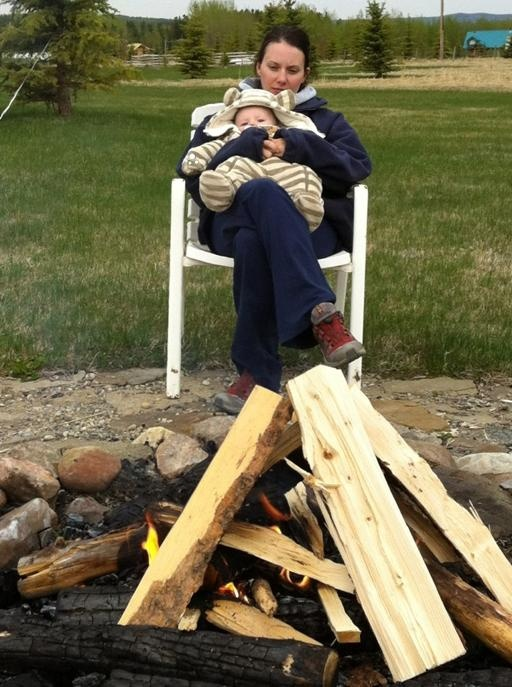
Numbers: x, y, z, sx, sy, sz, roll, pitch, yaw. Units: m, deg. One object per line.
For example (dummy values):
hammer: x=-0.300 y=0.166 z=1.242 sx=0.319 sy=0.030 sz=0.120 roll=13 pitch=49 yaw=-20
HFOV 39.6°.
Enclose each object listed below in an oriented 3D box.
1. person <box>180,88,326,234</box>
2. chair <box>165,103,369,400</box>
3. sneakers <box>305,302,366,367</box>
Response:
person: x=-0.032 y=-0.819 z=3.031 sx=0.516 sy=0.252 sz=0.708 roll=3 pitch=55 yaw=5
chair: x=0.065 y=-0.426 z=2.944 sx=0.794 sy=1.321 sz=1.189 roll=1 pitch=11 yaw=8
sneakers: x=0.273 y=-0.033 z=2.492 sx=0.131 sy=0.216 sz=0.215 roll=-5 pitch=12 yaw=-21
